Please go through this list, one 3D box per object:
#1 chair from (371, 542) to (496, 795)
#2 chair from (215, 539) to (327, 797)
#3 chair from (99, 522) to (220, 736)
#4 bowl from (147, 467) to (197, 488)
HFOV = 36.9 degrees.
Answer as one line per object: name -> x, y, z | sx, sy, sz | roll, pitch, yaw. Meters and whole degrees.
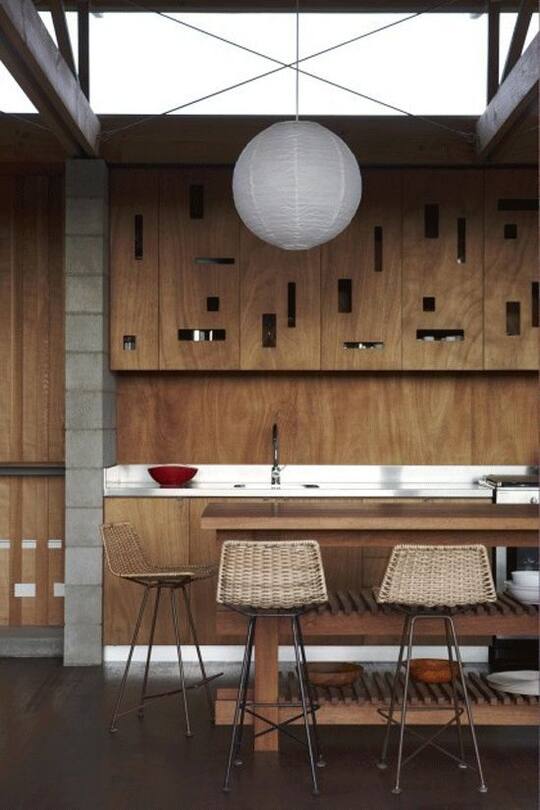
chair -> 0.590, 0.907, 2.875 | 0.400, 0.853, 0.414 | 0, -3, 18
chair -> 0.010, 0.861, 2.889 | 0.368, 0.812, 0.533 | 0, 0, 2
chair -> -0.441, 0.919, 3.389 | 0.405, 0.830, 0.370 | -1, -6, -1
bowl -> -0.538, 0.383, 4.433 | 0.245, 0.112, 0.114 | 0, 0, 9
